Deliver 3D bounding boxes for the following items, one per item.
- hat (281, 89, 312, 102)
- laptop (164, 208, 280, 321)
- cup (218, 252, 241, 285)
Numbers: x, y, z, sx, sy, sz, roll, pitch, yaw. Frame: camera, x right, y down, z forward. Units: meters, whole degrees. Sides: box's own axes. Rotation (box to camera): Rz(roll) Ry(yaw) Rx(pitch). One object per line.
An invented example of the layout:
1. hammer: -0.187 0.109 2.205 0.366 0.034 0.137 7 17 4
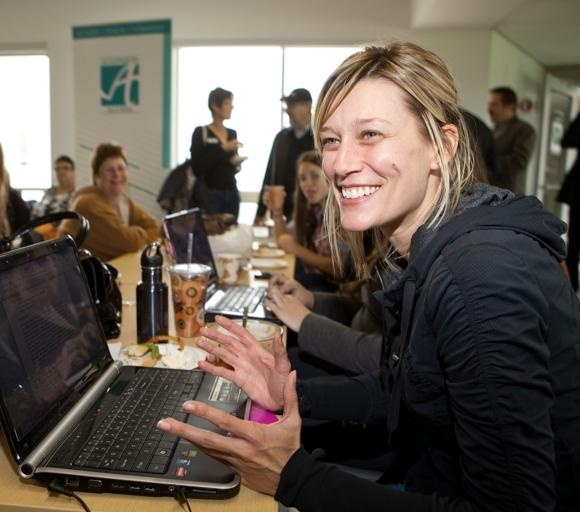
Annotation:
1. hat: 0.049 -1.217 3.852 0.174 0.093 0.120 1 12 -3
2. laptop: -0.208 0.026 1.774 0.380 0.320 0.430 3 7 0
3. cup: -0.244 0.057 2.144 0.107 0.121 0.110 3 5 0
